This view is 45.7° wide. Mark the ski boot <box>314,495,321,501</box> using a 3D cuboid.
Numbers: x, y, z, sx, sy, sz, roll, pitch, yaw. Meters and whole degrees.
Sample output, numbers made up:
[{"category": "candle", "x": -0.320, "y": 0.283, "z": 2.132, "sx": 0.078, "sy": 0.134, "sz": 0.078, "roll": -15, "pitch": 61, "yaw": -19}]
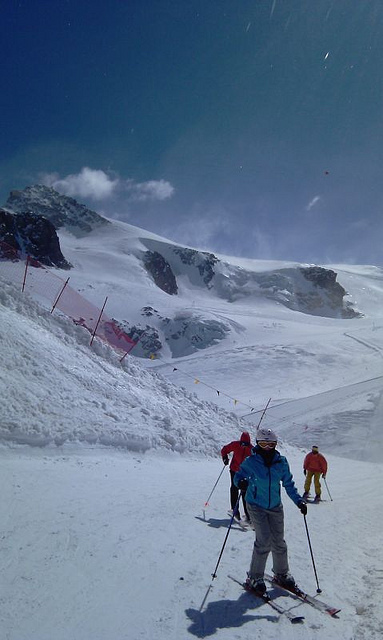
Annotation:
[{"category": "ski boot", "x": 3.308, "y": 4.684, "z": 11.961, "sx": 0.162, "sy": 0.125, "sz": 0.410, "roll": 9, "pitch": -3, "yaw": 16}]

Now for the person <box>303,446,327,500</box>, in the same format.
[{"category": "person", "x": 3.333, "y": 4.108, "z": 12.308, "sx": 0.580, "sy": 1.440, "sz": 0.438, "roll": 2, "pitch": 5, "yaw": 22}]

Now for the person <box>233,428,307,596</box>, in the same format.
[{"category": "person", "x": 0.977, "y": 2.486, "z": 5.916, "sx": 0.976, "sy": 1.803, "sz": 0.537, "roll": 9, "pitch": -3, "yaw": 1}]

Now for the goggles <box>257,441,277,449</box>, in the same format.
[{"category": "goggles", "x": 0.998, "y": 1.643, "z": 6.036, "sx": 0.266, "sy": 0.082, "sz": 0.188, "roll": 10, "pitch": -3, "yaw": 0}]

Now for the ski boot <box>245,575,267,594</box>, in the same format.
[{"category": "ski boot", "x": 0.823, "y": 3.346, "z": 5.754, "sx": 0.127, "sy": 0.180, "sz": 0.319, "roll": 12, "pitch": -3, "yaw": -42}]
